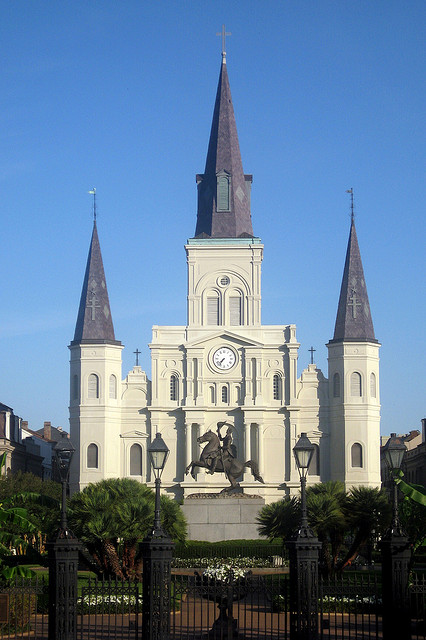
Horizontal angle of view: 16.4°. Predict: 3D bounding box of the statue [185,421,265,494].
[{"bbox_3d":[0.523,6.697,70.820,3.245,4.186,1.275,4,-34,1],"label":"statue"}]
